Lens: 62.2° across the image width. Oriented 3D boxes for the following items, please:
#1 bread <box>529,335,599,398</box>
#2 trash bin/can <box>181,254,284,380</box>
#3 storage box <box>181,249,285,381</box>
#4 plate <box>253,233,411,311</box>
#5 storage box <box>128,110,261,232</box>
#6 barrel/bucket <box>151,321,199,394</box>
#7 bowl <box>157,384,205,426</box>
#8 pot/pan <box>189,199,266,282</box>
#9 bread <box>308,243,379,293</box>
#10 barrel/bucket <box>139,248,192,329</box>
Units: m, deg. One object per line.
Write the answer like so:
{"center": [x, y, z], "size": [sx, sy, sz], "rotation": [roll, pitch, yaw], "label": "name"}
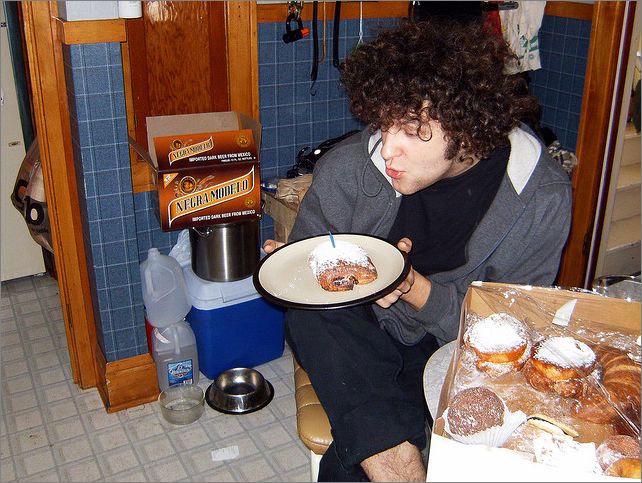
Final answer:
{"center": [0.516, 0.269, 1.144], "size": [0.153, 0.075, 0.153], "rotation": [2, 21, 25], "label": "bread"}
{"center": [-0.441, 0.353, 2.918], "size": [0.544, 0.677, 0.506], "rotation": [-7, 15, -24], "label": "trash bin/can"}
{"center": [-0.463, 0.292, 2.921], "size": [0.544, 0.716, 0.510], "rotation": [-9, 17, -25], "label": "storage box"}
{"center": [0.035, 0.086, 1.572], "size": [0.446, 0.087, 0.439], "rotation": [2, 27, 9], "label": "plate"}
{"center": [-0.537, -0.353, 2.385], "size": [0.582, 0.446, 0.347], "rotation": [-10, 35, -16], "label": "storage box"}
{"center": [-0.711, 0.526, 2.624], "size": [0.217, 0.380, 0.202], "rotation": [-2, 18, 1], "label": "barrel/bucket"}
{"center": [-0.649, 0.816, 2.510], "size": [0.206, 0.222, 0.099], "rotation": [-5, 65, -25], "label": "bowl"}
{"center": [-0.475, -0.051, 2.630], "size": [0.357, 0.397, 0.377], "rotation": [-6, 41, -14], "label": "pot/pan"}
{"center": [0.064, 0.057, 1.651], "size": [0.194, 0.079, 0.258], "rotation": [-6, 26, -4], "label": "bread"}
{"center": [-0.766, 0.232, 2.539], "size": [0.252, 0.402, 0.254], "rotation": [-9, -6, -1], "label": "barrel/bucket"}
